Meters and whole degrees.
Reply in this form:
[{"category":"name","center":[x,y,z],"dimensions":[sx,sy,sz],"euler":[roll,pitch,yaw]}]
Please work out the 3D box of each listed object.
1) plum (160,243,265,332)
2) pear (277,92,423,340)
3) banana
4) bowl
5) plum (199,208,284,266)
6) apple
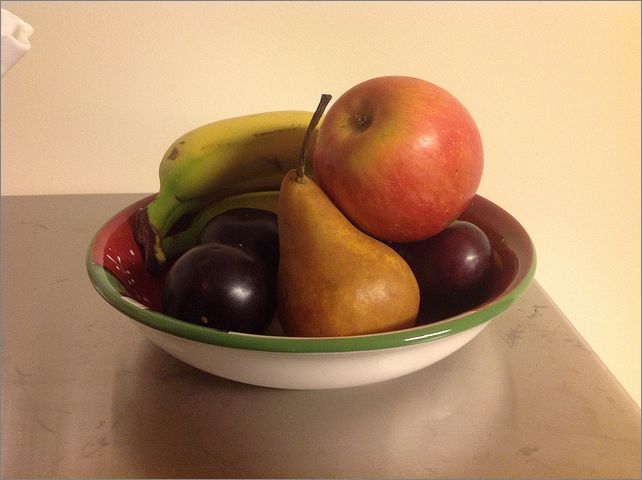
[{"category":"plum","center":[-0.132,0.040,0.750],"dimensions":[0.128,0.092,0.089],"euler":[-17,28,-34]},{"category":"pear","center":[0.004,-0.028,0.727],"dimensions":[0.198,0.255,0.201],"euler":[-6,21,-27]},{"category":"banana","center":[-0.132,-0.086,0.881],"dimensions":[0.280,0.076,0.161],"euler":[-36,89,-36]},{"category":"bowl","center":[-0.041,0.083,0.666],"dimensions":[0.294,0.076,0.289],"euler":[1,25,0]},{"category":"plum","center":[-0.103,-0.011,0.803],"dimensions":[0.087,0.073,0.053],"euler":[5,55,1]},{"category":"apple","center":[0.108,-0.094,0.770],"dimensions":[0.176,0.187,0.180],"euler":[0,35,11]}]
